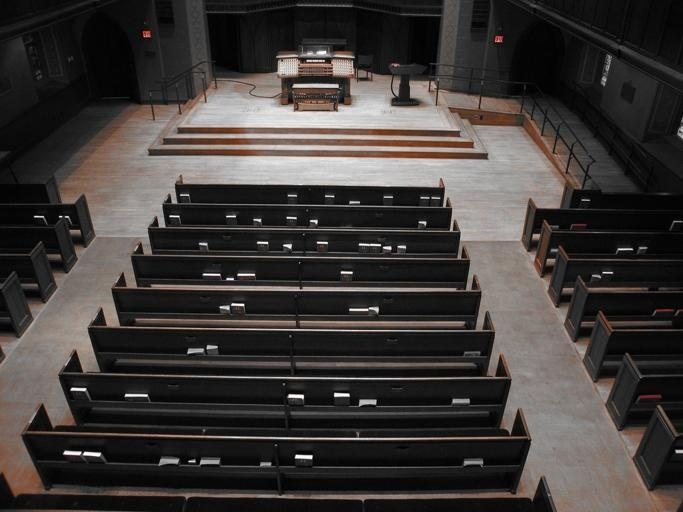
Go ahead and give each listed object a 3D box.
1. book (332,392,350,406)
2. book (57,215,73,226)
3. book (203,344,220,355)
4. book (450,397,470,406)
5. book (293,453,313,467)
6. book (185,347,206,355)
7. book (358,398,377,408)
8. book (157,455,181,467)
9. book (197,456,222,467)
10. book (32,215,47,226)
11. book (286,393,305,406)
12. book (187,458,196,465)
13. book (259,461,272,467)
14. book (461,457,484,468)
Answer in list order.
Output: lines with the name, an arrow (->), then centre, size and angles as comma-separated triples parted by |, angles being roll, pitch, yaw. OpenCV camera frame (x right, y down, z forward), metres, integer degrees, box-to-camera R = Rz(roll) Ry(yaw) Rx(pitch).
book -> -0.019, 1.780, 7.493 | 0.265, 0.171, 0.135 | 0, 45, 2
book -> -4.743, -0.593, 10.342 | 0.231, 0.150, 0.213 | 1, 34, -2
book -> -1.750, 1.272, 8.125 | 0.220, 0.159, 0.119 | 6, 48, -8
book -> 1.492, 1.829, 7.571 | 0.178, 0.092, 0.074 | -2, -12, 0
book -> -0.438, 2.361, 6.995 | 0.214, 0.181, 0.079 | 0, 25, -1
book -> -1.960, 1.270, 8.094 | 0.134, 0.032, 0.132 | 1, 48, -6
book -> 0.328, 1.838, 7.572 | 0.182, 0.110, 0.041 | -1, -6, 4
book -> -2.013, 2.379, 6.996 | 0.195, 0.113, 0.052 | 3, -5, -5
book -> -1.532, 2.378, 7.006 | 0.284, 0.145, 0.082 | 1, -19, -1
book -> -5.242, -0.618, 10.437 | 0.165, 0.220, 0.111 | 1, 53, -13
book -> -0.576, 1.779, 7.456 | 0.249, 0.160, 0.128 | 2, 53, -1
book -> -1.755, 2.394, 7.053 | 0.079, 0.052, 0.053 | 3, 52, -3
book -> -0.889, 2.415, 7.020 | 0.095, 0.049, 0.022 | 2, -19, 1
book -> 1.530, 2.445, 7.098 | 0.274, 0.170, 0.094 | 1, 49, -2
